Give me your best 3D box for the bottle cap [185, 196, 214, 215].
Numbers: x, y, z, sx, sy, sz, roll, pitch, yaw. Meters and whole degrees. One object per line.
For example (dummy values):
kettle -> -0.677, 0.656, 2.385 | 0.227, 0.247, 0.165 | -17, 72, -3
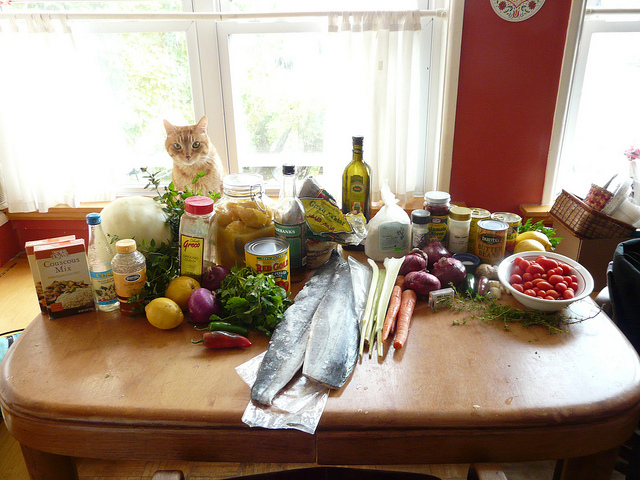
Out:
bottle cap -> -0.325, -0.098, 1.271 | 0.073, 0.036, 0.092 | 2, 26, 8

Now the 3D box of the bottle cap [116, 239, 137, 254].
bottle cap -> -0.501, 0.011, 1.206 | 0.043, 0.026, 0.072 | -5, 26, -7

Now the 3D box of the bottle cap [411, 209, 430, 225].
bottle cap -> 0.309, -0.071, 1.421 | 0.057, 0.037, 0.045 | -2, 26, 0

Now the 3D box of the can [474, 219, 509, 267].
can -> 0.503, 0.012, 1.367 | 0.088, 0.132, 0.088 | -1, 24, 0

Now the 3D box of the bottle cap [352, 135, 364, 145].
bottle cap -> 0.125, -0.324, 1.515 | 0.029, 0.027, 0.029 | -1, 23, 0

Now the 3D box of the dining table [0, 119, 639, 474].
dining table -> 0.022, 0.134, 1.349 | 1.246, 0.624, 0.832 | 0, 45, -1

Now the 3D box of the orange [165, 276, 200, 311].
orange -> -0.368, 0.134, 1.276 | 0.081, 0.096, 0.081 | 1, 56, 27

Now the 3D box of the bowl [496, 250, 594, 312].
bowl -> 0.616, 0.094, 1.264 | 0.188, 0.094, 0.184 | 18, 25, -9

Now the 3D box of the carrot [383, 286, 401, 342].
carrot -> 0.191, 0.186, 1.219 | 0.034, 0.034, 0.232 | 13, 26, 13

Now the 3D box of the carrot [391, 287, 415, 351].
carrot -> 0.216, 0.196, 1.184 | 0.042, 0.043, 0.187 | -24, 20, 30

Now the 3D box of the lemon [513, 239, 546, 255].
lemon -> 0.627, 0.015, 1.383 | 0.048, 0.050, 0.063 | 0, 6, -13

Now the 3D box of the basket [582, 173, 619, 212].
basket -> 1.136, -0.189, 1.897 | 0.072, 0.129, 0.126 | 12, 8, -7

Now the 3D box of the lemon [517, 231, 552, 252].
lemon -> 0.657, 0.002, 1.430 | 0.083, 0.053, 0.063 | 3, 19, 1

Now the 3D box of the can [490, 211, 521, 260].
can -> 0.592, 0.013, 1.478 | 0.092, 0.154, 0.091 | 1, 10, 0

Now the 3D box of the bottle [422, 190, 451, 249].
bottle -> 0.375, -0.052, 1.469 | 0.073, 0.178, 0.073 | -5, 22, 2

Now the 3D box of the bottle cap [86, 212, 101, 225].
bottle cap -> -0.588, -0.058, 1.206 | 0.038, 0.034, 0.038 | -7, 18, -43

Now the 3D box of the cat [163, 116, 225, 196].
cat -> -0.627, -0.390, 2.316 | 0.281, 0.368, 0.498 | -8, 13, -10

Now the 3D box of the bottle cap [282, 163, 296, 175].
bottle cap -> -0.085, -0.191, 1.266 | 0.029, 0.021, 0.029 | -1, 25, -4

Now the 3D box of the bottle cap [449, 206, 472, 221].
bottle cap -> 0.438, -0.085, 1.419 | 0.047, 0.019, 0.047 | 17, 32, 32
